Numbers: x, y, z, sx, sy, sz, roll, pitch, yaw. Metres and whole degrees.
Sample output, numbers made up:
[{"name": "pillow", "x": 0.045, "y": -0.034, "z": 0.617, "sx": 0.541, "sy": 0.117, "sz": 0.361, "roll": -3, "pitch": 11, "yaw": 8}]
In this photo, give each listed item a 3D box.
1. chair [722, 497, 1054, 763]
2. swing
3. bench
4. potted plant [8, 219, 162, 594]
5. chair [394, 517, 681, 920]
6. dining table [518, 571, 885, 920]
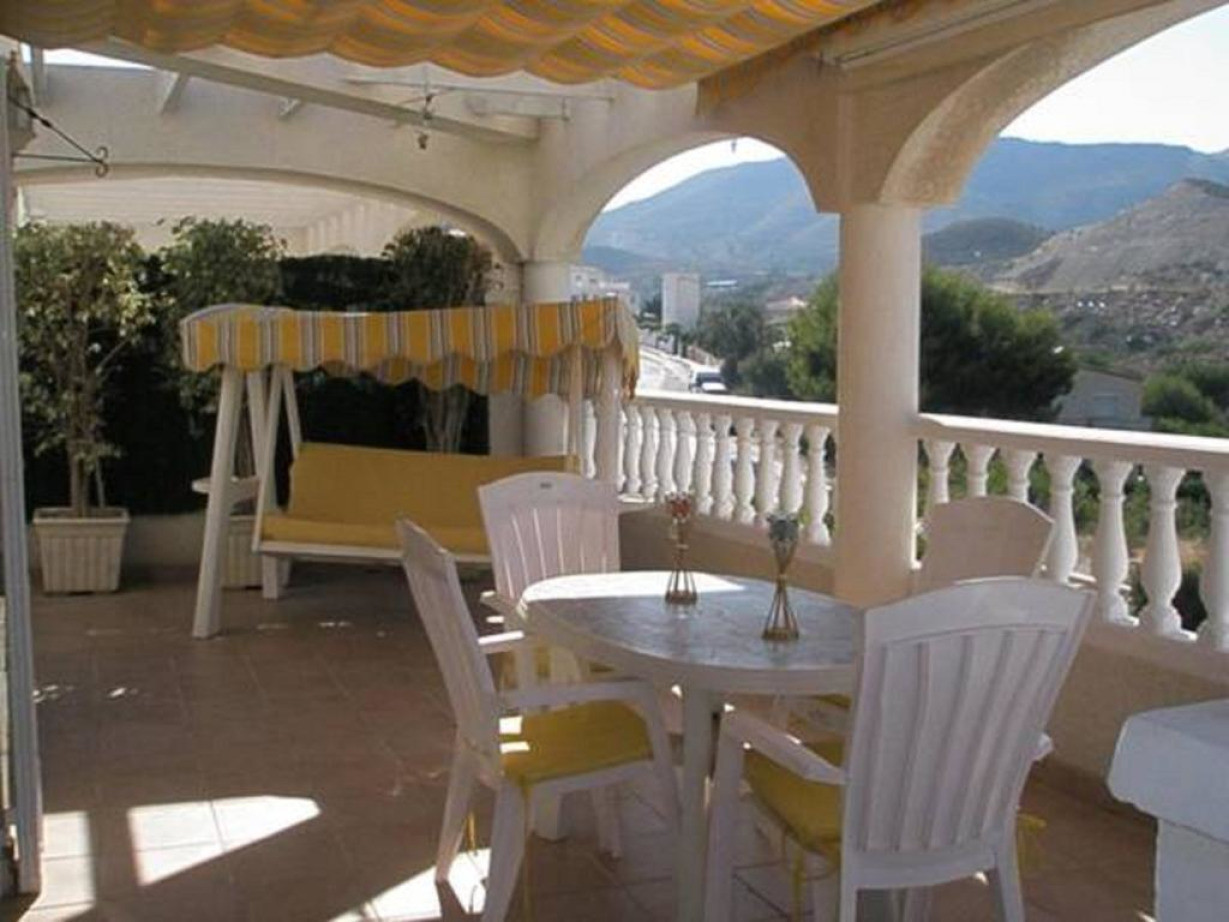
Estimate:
[{"name": "chair", "x": 1.018, "y": 0.553, "z": 3.891, "sx": 0.729, "sy": 1.192, "sz": 0.655, "roll": -4, "pitch": 5, "yaw": -38}, {"name": "swing", "x": -1.399, "y": 0.071, "z": 7.399, "sx": 2.195, "sy": 1.474, "sz": 0.786, "roll": 3, "pitch": 3, "yaw": -11}, {"name": "bench", "x": -1.362, "y": 0.089, "z": 7.396, "sx": 2.302, "sy": 1.615, "sz": 0.783, "roll": 3, "pitch": 3, "yaw": -9}, {"name": "potted plant", "x": -4.018, "y": -0.415, "z": 7.723, "sx": 0.902, "sy": 2.726, "sz": 1.032, "roll": -4, "pitch": 9, "yaw": -30}, {"name": "chair", "x": -0.264, "y": 0.718, "z": 4.069, "sx": 1.185, "sy": 1.828, "sz": 1.090, "roll": -3, "pitch": 7, "yaw": -21}, {"name": "dining table", "x": 0.301, "y": 0.606, "z": 3.359, "sx": 0.869, "sy": 0.900, "sz": 1.535, "roll": 0, "pitch": 7, "yaw": -23}]
